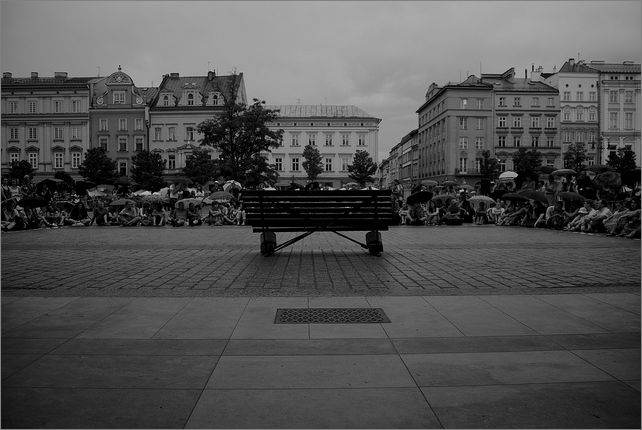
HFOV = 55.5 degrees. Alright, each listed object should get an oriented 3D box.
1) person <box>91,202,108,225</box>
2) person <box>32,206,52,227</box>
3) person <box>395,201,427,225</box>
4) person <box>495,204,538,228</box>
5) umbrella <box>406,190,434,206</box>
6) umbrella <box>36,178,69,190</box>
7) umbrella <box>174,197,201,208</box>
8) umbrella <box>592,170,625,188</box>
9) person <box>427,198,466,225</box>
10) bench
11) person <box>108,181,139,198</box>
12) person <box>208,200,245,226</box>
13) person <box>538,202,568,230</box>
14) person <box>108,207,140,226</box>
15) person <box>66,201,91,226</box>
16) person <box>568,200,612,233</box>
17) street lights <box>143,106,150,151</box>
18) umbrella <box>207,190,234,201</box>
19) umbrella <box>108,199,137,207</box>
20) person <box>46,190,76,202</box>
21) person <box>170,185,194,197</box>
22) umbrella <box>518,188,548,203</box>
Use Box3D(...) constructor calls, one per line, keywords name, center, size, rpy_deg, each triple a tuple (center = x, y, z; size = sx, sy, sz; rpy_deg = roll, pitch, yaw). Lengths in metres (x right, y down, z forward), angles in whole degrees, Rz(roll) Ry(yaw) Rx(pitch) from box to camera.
Box3D(name="person", center=(-9.223, -0.050, 25.240), size=(0.662, 1.111, 1.358), rpy_deg=(-4, 13, -20))
Box3D(name="person", center=(-10.999, 0.092, 23.996), size=(0.662, 0.836, 1.756), rpy_deg=(-5, 13, -23))
Box3D(name="person", center=(3.919, -0.073, 26.139), size=(1.188, 0.834, 1.031), rpy_deg=(1, 12, 6))
Box3D(name="person", center=(7.807, 0.017, 24.312), size=(0.520, 1.173, 2.118), rpy_deg=(-3, 12, -13))
Box3D(name="umbrella", center=(4.147, -0.668, 25.784), size=(1.081, 0.779, 1.233), rpy_deg=(2, 12, 8))
Box3D(name="umbrella", center=(-12.980, -1.499, 29.461), size=(1.243, 0.500, 1.631), rpy_deg=(1, 1, -15))
Box3D(name="umbrella", center=(-5.490, -0.476, 25.175), size=(1.035, 0.415, 0.722), rpy_deg=(-7, 14, -31))
Box3D(name="umbrella", center=(10.579, -1.227, 22.485), size=(0.929, 0.654, 0.929), rpy_deg=(5, 13, 22))
Box3D(name="person", center=(5.133, -0.172, 25.600), size=(1.265, 0.856, 1.205), rpy_deg=(-1, -4, 2))
Box3D(name="bench", center=(0.008, 0.169, 12.831), size=(3.061, 1.169, 1.061), rpy_deg=(-1, -8, -1))
Box3D(name="person", center=(-11.277, -1.412, 34.648), size=(1.605, 0.931, 1.546), rpy_deg=(2, -5, -37))
Box3D(name="person", center=(-4.027, 0.052, 25.856), size=(1.497, 0.654, 1.418), rpy_deg=(-1, 3, -15))
Box3D(name="person", center=(8.413, 0.089, 22.064), size=(0.670, 1.054, 1.613), rpy_deg=(0, 12, -2))
Box3D(name="person", center=(-7.974, 0.124, 24.948), size=(1.343, 1.218, 0.747), rpy_deg=(1, -3, -8))
Box3D(name="person", center=(-10.140, -0.020, 25.290), size=(0.934, 0.796, 1.586), rpy_deg=(-5, 13, -22))
Box3D(name="person", center=(8.859, 0.094, 19.891), size=(0.695, 1.129, 1.597), rpy_deg=(-2, 12, -11))
Box3D(name="street lights", center=(-22.703, -11.274, 79.304), size=(0.844, 5.668, 0.602), rpy_deg=(3, 13, 11))
Box3D(name="umbrella", center=(-4.360, -0.758, 26.328), size=(0.954, 0.380, 0.992), rpy_deg=(-5, 13, -24))
Box3D(name="umbrella", center=(-8.231, -0.474, 25.046), size=(0.889, 0.350, 1.041), rpy_deg=(-4, 12, -18))
Box3D(name="person", center=(-15.289, -1.095, 35.772), size=(1.364, 0.497, 1.311), rpy_deg=(0, 4, -7))
Box3D(name="person", center=(-6.732, -1.127, 29.240), size=(0.862, 0.259, 0.808), rpy_deg=(3, 7, -7))
Box3D(name="umbrella", center=(8.001, -0.693, 22.877), size=(0.617, 0.465, 1.366), rpy_deg=(-2, 12, -8))
